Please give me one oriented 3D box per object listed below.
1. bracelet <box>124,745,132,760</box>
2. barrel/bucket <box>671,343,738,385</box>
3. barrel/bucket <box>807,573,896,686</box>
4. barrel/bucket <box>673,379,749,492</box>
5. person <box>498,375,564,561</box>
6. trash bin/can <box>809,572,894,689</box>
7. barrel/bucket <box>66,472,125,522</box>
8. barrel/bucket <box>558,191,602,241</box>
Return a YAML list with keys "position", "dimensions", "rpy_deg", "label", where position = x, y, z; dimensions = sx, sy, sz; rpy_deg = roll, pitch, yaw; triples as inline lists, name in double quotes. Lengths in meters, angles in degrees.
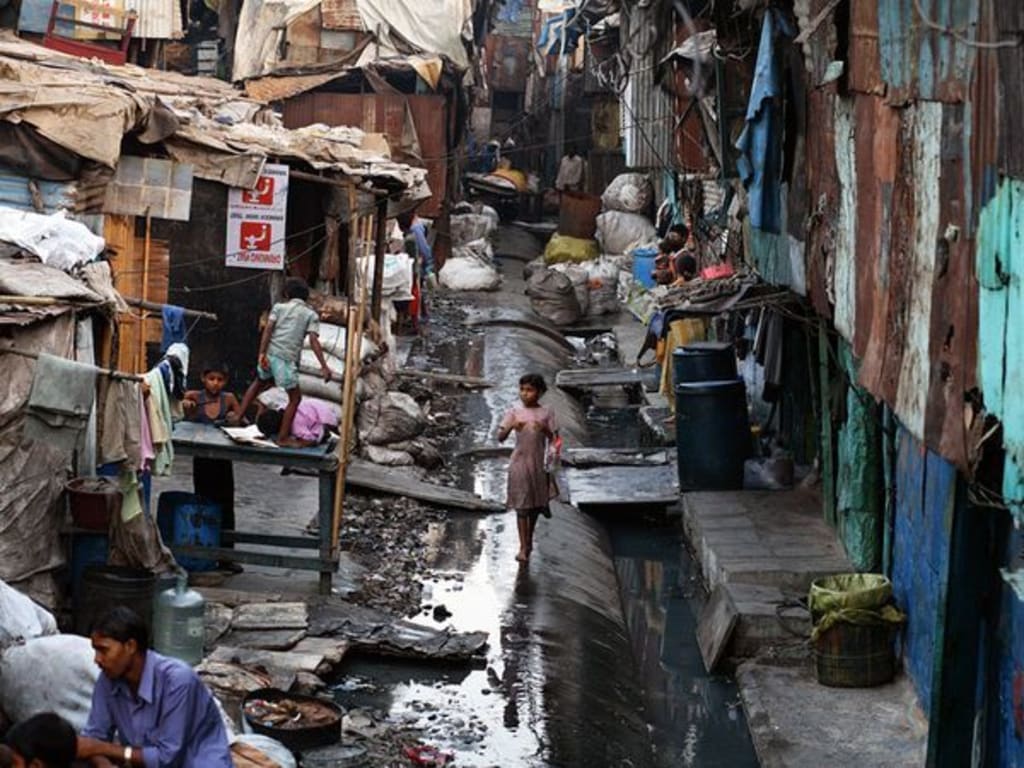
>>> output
- position: [-1.824, 1.750, 5.071]
  dimensions: [0.015, 0.049, 0.047]
  rpy_deg: [1, 11, -2]
  label: "bracelet"
- position: [2.203, -0.265, 12.290]
  dimensions: [0.528, 0.587, 0.540]
  rpy_deg: [-1, 6, 0]
  label: "barrel/bucket"
- position: [2.495, 1.791, 7.892]
  dimensions: [0.621, 0.762, 0.715]
  rpy_deg: [-1, 0, 28]
  label: "barrel/bucket"
- position: [2.124, 0.559, 11.382]
  dimensions: [0.775, 1.109, 0.495]
  rpy_deg: [2, 0, 13]
  label: "barrel/bucket"
- position: [0.146, 0.778, 9.774]
  dimensions: [0.533, 1.654, 0.955]
  rpy_deg: [2, -1, 0]
  label: "person"
- position: [2.488, 1.822, 7.742]
  dimensions: [0.667, 0.704, 0.403]
  rpy_deg: [3, -1, 8]
  label: "trash bin/can"
- position: [-2.848, 0.811, 7.310]
  dimensions: [0.436, 0.376, 0.321]
  rpy_deg: [3, -1, -2]
  label: "barrel/bucket"
- position: [1.603, -4.139, 25.578]
  dimensions: [1.019, 1.148, 1.073]
  rpy_deg: [9, 22, -4]
  label: "barrel/bucket"
